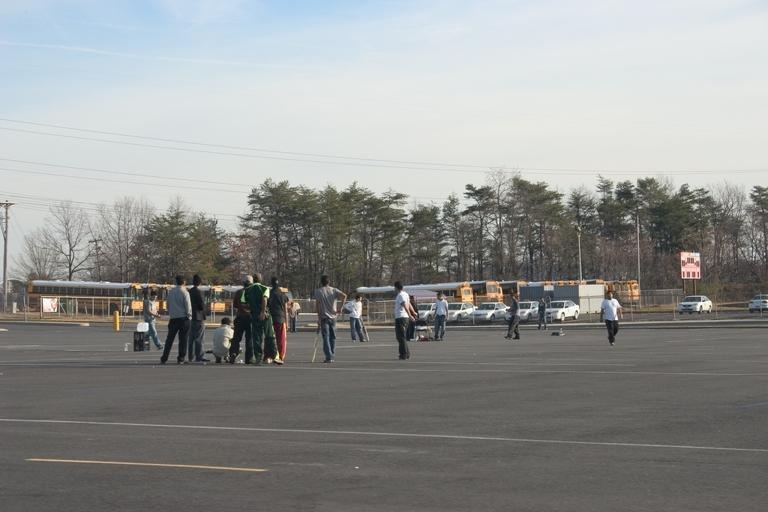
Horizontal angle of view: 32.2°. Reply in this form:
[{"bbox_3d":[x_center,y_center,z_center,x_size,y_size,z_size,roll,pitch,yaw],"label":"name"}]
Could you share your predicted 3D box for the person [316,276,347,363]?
[{"bbox_3d":[-1.718,1.930,43.100,1.046,2.727,0.910,0,0,8],"label":"person"}]
